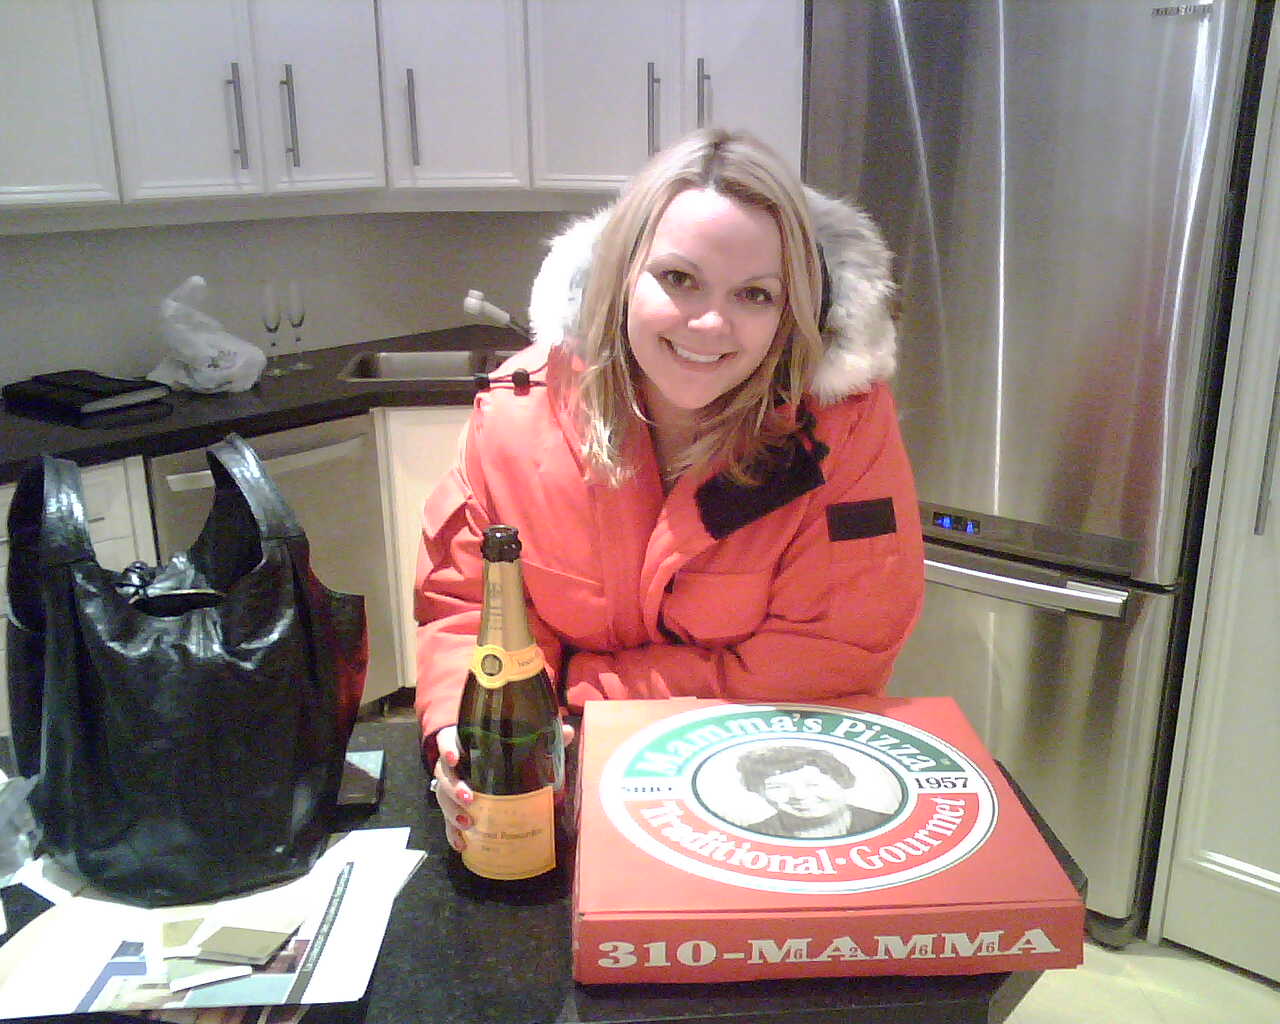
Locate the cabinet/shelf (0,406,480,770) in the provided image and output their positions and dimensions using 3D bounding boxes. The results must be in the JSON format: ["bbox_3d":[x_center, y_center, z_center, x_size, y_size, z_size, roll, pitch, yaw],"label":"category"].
[{"bbox_3d":[-0.931,0.192,2.691,1.299,0.881,0.701,-12,14,-20],"label":"cabinet/shelf"}]
